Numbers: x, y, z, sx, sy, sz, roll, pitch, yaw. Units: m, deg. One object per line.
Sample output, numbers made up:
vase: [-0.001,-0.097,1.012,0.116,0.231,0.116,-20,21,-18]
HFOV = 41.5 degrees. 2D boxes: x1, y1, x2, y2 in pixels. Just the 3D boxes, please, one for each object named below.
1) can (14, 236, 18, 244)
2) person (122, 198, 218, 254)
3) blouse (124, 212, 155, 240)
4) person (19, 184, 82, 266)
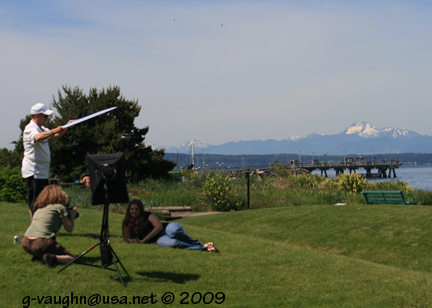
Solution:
can: [-6.175,2.648,17.655,0.121,0.244,0.245,3,10,-7]
person: [-1.561,2.451,18.777,3.051,1.302,1.191,10,-13,-1]
blouse: [-2.509,2.324,18.563,0.986,0.894,0.347,3,10,-12]
person: [-4.748,2.062,16.410,1.407,2.194,0.654,4,9,-5]
